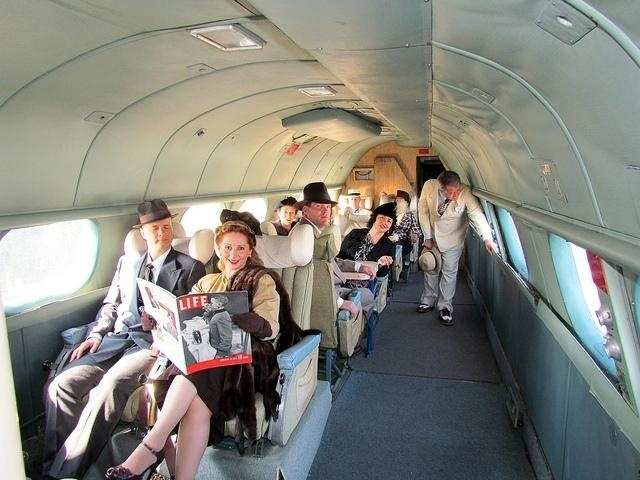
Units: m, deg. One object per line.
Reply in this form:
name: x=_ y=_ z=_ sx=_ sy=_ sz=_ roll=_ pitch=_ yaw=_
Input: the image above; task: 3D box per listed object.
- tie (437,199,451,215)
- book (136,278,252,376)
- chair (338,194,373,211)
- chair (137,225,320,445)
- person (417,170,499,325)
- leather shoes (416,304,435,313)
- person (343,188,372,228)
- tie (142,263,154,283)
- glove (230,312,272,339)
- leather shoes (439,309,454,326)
tie: x=1.945 y=-0.488 z=6.572 sx=0.063 sy=0.225 sz=0.129 roll=16 pitch=6 yaw=-42
book: x=-0.870 y=0.603 z=3.143 sx=0.810 sy=0.666 sz=0.583 roll=2 pitch=-16 yaw=-7
chair: x=1.024 y=-1.071 z=12.614 sx=0.607 sy=0.342 sz=0.810 roll=2 pitch=6 yaw=16
chair: x=-0.798 y=0.926 z=3.491 sx=1.414 sy=2.067 sz=1.110 roll=-1 pitch=-3 yaw=8
person: x=2.184 y=0.172 z=6.653 sx=0.687 sy=2.571 sz=1.421 roll=-19 pitch=31 yaw=-34
leather shoes: x=1.817 y=1.211 z=7.309 sx=0.117 sy=0.139 sz=0.331 roll=-2 pitch=-8 yaw=30
person: x=1.178 y=-0.831 z=12.048 sx=0.932 sy=1.404 sz=1.101 roll=0 pitch=0 yaw=18
tie: x=-1.603 y=0.324 z=3.914 sx=0.081 sy=0.199 sz=0.029 roll=-31 pitch=-50 yaw=10
glove: x=-0.506 y=0.659 z=3.155 sx=0.152 sy=0.118 sz=0.384 roll=15 pitch=-10 yaw=27
leather shoes: x=2.030 y=1.229 z=6.702 sx=0.195 sy=0.214 sz=0.256 roll=0 pitch=9 yaw=11
